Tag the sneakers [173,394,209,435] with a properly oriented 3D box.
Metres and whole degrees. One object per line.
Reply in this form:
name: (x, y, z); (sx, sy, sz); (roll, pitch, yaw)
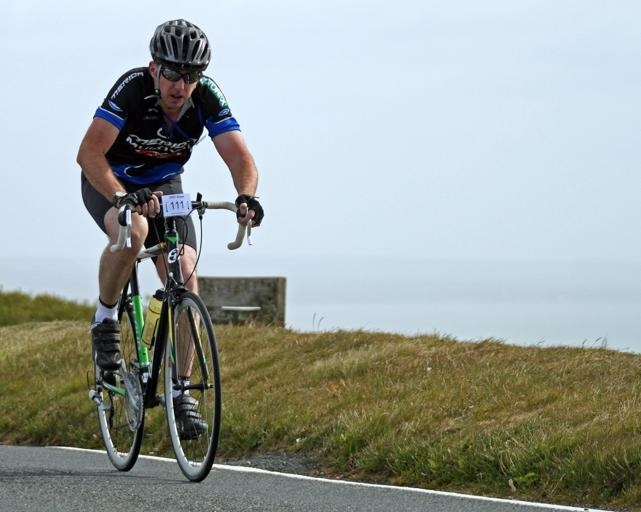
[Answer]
sneakers: (-1.033, 1.267, 9.513); (0.207, 0.337, 0.300); (-9, 10, -16)
